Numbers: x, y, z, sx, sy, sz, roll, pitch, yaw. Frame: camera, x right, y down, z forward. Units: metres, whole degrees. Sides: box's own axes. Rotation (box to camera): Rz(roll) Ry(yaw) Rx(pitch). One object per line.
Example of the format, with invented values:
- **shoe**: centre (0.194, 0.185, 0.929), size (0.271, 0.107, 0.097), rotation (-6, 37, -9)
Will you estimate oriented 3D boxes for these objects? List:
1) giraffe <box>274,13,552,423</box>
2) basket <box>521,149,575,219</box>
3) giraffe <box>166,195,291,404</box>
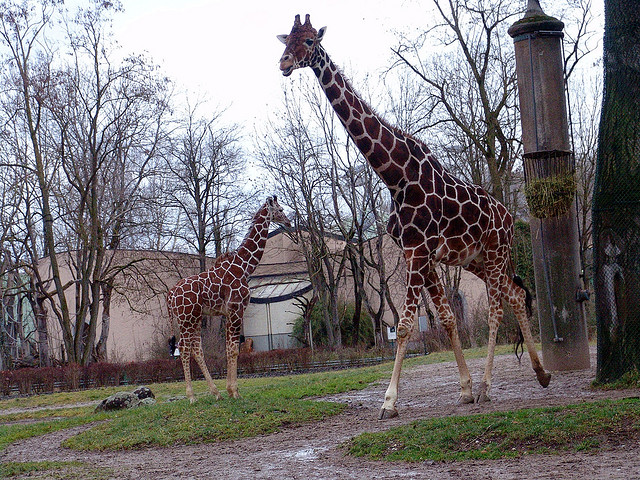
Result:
- **giraffe**: centre (1.955, -0.491, 11.500), size (3.233, 6.741, 3.988), rotation (-9, -9, 19)
- **basket**: centre (4.874, -1.123, 13.124), size (1.073, 1.154, 1.179), rotation (9, -10, 26)
- **giraffe**: centre (-2.110, 1.243, 14.325), size (2.498, 4.467, 2.573), rotation (-3, -9, -16)
